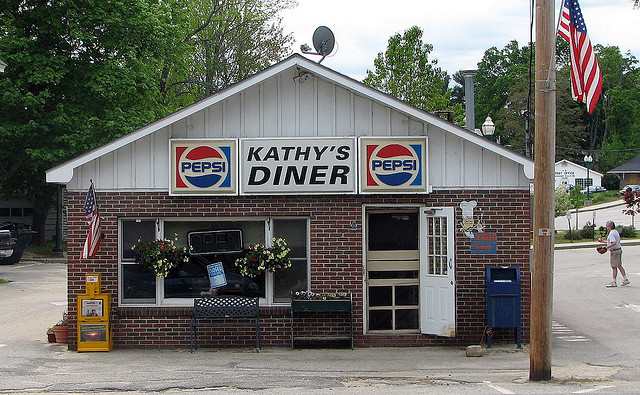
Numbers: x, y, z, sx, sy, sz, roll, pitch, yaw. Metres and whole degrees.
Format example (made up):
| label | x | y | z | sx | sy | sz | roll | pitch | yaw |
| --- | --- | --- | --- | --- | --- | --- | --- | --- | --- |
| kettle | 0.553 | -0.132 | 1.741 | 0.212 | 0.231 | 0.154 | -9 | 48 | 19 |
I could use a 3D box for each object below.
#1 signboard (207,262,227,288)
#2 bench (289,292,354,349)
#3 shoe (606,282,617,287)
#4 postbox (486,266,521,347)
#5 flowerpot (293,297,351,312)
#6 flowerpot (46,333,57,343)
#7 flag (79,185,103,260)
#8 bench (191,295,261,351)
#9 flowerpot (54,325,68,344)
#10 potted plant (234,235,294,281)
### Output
| label | x | y | z | sx | sy | sz | roll | pitch | yaw |
| --- | --- | --- | --- | --- | --- | --- | --- | --- | --- |
| signboard | -3.604 | 2.767 | 31.122 | 0.752 | 1.010 | 0.104 | -13 | -1 | -14 |
| bench | 0.073 | 4.210 | 30.822 | 2.001 | 1.773 | 0.747 | 0 | -5 | -1 |
| shoe | 12.613 | 3.805 | 38.509 | 0.437 | 0.266 | 0.480 | 3 | 12 | 18 |
| postbox | 6.248 | 3.796 | 30.797 | 1.166 | 2.728 | 0.922 | 2 | -1 | -11 |
| flowerpot | 0.085 | 3.742 | 30.589 | 1.968 | 0.378 | 0.324 | -1 | 12 | -5 |
| flowerpot | -9.453 | 5.016 | 31.538 | 0.304 | 0.257 | 0.345 | -3 | -3 | 0 |
| flag | -7.786 | 0.898 | 30.523 | 0.719 | 2.355 | 0.652 | -2 | -1 | -8 |
| bench | -3.247 | 4.442 | 30.833 | 1.952 | 1.387 | 0.719 | 0 | 0 | 0 |
| flowerpot | -9.086 | 4.893 | 31.418 | 0.579 | 0.495 | 0.564 | 0 | -6 | -6 |
| potted plant | -1.851 | 2.176 | 31.473 | 1.508 | 1.099 | 1.669 | 5 | 3 | -15 |
